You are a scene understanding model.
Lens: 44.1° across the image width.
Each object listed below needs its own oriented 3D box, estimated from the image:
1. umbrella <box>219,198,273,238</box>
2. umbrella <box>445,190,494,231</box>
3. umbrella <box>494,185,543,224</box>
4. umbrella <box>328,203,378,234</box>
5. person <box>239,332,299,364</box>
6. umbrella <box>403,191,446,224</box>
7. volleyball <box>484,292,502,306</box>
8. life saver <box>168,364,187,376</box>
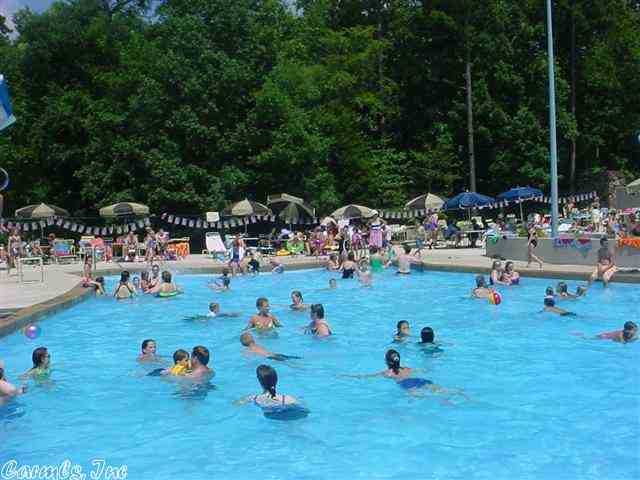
[{"bbox_3d":[-3.318,-1.046,35.583,1.740,1.417,1.853,-1,6,-4],"label":"umbrella"},{"bbox_3d":[6.822,-1.771,36.547,1.897,1.415,1.970,-2,1,10],"label":"umbrella"},{"bbox_3d":[9.895,-1.535,38.429,2.148,1.968,2.185,-11,10,-9],"label":"umbrella"},{"bbox_3d":[1.460,-0.953,36.998,1.457,0.939,1.433,-4,5,-25],"label":"umbrella"},{"bbox_3d":[-1.335,2.592,18.593,1.547,0.828,0.564,8,5,24],"label":"person"},{"bbox_3d":[5.005,-1.417,37.328,1.407,1.100,1.523,6,14,31],"label":"umbrella"},{"bbox_3d":[4.903,1.610,22.377,0.340,0.415,0.375,8,-10,24],"label":"volleyball"},{"bbox_3d":[-3.097,2.793,17.208,0.242,0.109,0.305,-9,12,-39],"label":"life saver"}]
